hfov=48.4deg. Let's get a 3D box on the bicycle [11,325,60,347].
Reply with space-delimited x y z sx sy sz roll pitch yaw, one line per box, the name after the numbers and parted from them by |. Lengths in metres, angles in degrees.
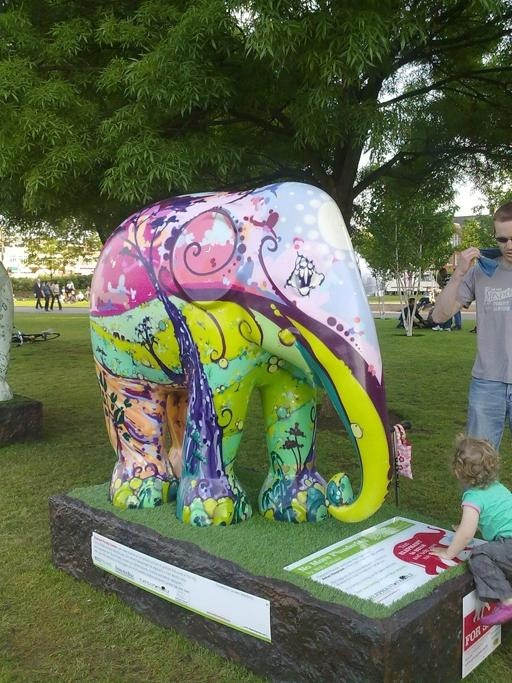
-5.177 -0.107 13.375 1.108 0.532 0.634 0 2 3 | bicycle
